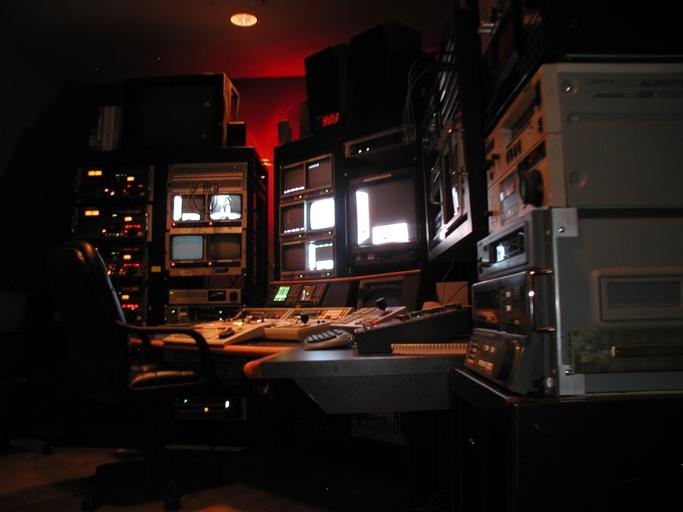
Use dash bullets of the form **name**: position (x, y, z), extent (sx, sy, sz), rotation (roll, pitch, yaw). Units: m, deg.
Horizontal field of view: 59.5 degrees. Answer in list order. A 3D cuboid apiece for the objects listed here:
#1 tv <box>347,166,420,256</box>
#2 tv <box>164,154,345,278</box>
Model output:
- **tv**: position (0.238, -0.271, 3.475), extent (0.442, 0.415, 0.106), rotation (1, -2, 39)
- **tv**: position (-0.596, -0.290, 4.160), extent (1.104, 0.922, 0.619), rotation (-1, 4, 16)
